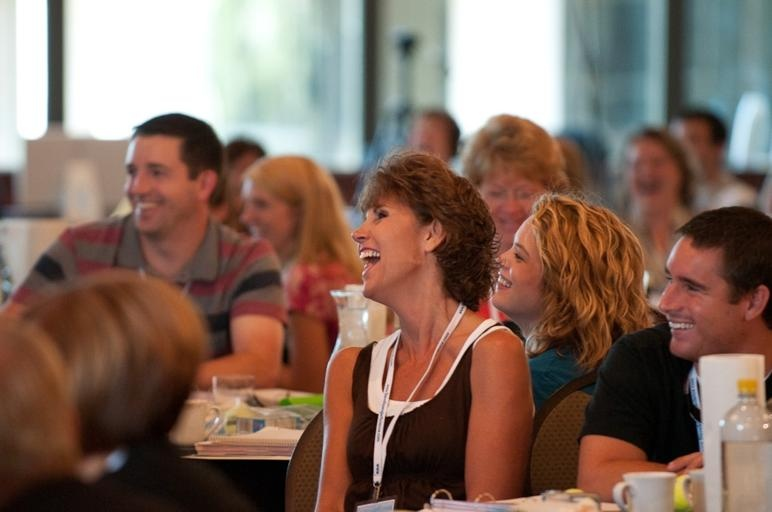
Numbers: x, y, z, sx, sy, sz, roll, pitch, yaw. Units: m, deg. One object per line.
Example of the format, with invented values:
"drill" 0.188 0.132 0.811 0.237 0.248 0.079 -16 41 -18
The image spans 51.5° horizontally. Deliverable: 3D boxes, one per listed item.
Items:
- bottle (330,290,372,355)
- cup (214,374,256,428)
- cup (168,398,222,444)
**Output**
"bottle" -0.140 0.240 2.984 0.139 0.211 0.287 -1 3 3
"cup" -0.474 0.457 2.574 0.118 0.200 0.119 0 -6 0
"cup" -0.553 0.485 2.391 0.093 0.121 0.292 -1 3 0
